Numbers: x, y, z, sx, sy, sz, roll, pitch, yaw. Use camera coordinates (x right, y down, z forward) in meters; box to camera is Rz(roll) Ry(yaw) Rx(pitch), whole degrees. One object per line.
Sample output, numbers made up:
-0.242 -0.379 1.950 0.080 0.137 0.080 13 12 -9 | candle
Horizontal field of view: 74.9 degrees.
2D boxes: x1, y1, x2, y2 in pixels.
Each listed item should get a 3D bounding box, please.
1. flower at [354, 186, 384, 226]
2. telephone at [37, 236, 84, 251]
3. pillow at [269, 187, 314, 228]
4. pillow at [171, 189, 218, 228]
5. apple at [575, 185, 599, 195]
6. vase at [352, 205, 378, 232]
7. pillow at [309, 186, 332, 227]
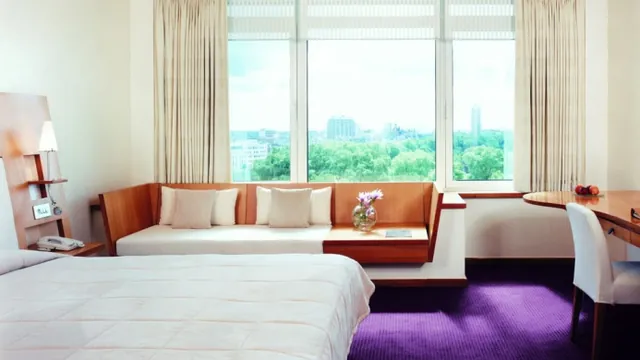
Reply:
0.628 0.349 5.388 0.480 0.587 0.416 2 4 19 | flower
-2.838 0.684 4.567 0.264 0.078 0.201 0 3 -2 | telephone
-0.375 0.357 5.455 0.549 0.533 0.215 2 -3 -4 | pillow
-1.646 0.363 5.342 0.534 0.476 0.162 4 -4 0 | pillow
3.128 0.127 4.909 0.145 0.081 0.188 5 -5 -38 | apple
0.584 0.451 5.293 0.313 0.360 0.310 2 8 9 | vase
0.012 0.358 5.496 0.468 0.466 0.181 -1 -17 7 | pillow
